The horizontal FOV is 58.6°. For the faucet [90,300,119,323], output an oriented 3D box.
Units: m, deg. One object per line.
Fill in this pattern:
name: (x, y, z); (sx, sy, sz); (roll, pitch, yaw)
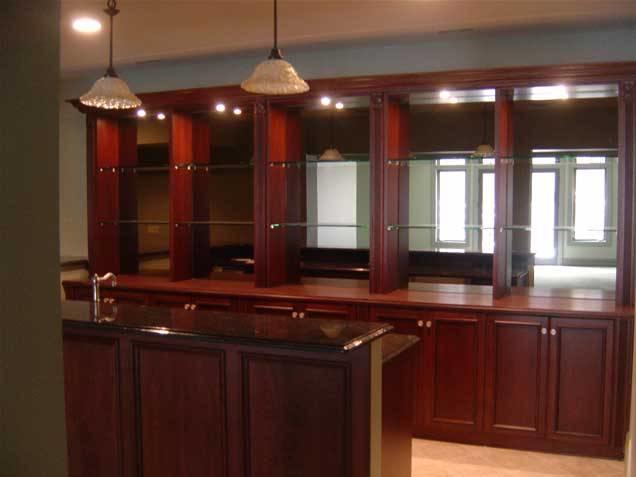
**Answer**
faucet: (-1.171, 0.398, 3.108); (0.097, 0.135, 0.141); (-14, -11, 31)

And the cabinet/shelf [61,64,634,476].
cabinet/shelf: (0.404, 0.183, 3.801); (3.002, 2.056, 1.639); (-1, 0, 15)
